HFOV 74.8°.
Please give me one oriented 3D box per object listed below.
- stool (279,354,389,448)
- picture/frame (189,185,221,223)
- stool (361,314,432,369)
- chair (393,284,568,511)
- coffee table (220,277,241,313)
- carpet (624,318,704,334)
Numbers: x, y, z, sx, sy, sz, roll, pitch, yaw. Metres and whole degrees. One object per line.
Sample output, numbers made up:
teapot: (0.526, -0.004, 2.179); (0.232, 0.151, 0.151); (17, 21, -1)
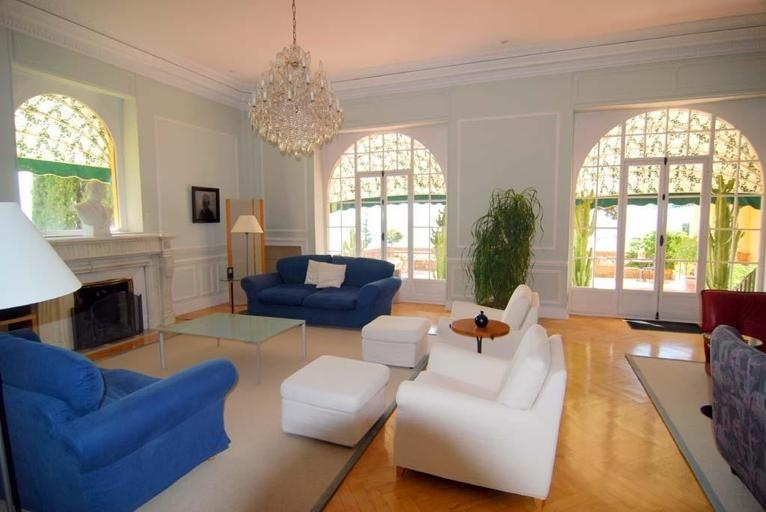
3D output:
stool: (-0.446, 1.289, 4.764); (0.747, 0.520, 0.772); (1, 9, 23)
picture/frame: (-2.932, -0.864, 8.193); (0.038, 0.528, 0.479); (12, 33, 26)
stool: (0.190, 0.955, 5.962); (0.584, 0.445, 0.606); (0, -1, 20)
chair: (0.958, 1.208, 4.633); (1.254, 1.425, 1.829); (5, 8, 19)
coffee table: (-2.538, 0.647, 8.343); (0.496, 0.599, 0.489); (-2, 3, -26)
carpet: (4.032, 0.996, 7.159); (0.962, 0.070, 0.577); (3, 4, 17)
